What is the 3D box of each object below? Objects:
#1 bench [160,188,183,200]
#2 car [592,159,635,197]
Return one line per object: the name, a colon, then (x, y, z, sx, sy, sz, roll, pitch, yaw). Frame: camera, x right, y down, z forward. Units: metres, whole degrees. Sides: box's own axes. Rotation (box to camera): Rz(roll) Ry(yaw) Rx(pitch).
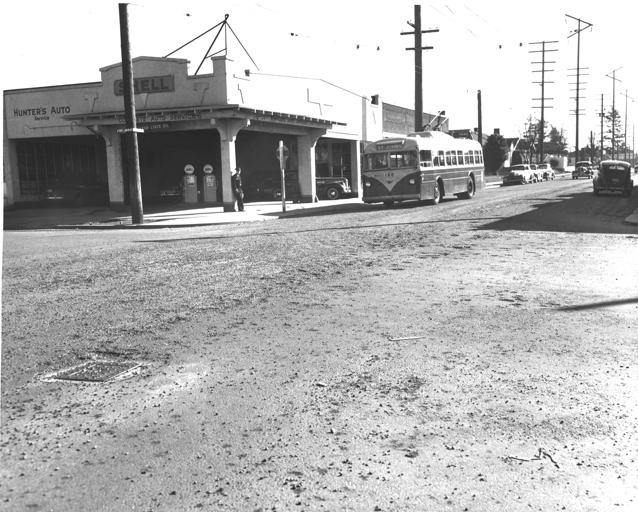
bench: (-10.202, -4.266, 43.344, 1.006, 0.707, 2.751, -8, 12, -40)
car: (17.593, -4.615, 37.305, 1.344, 1.689, 2.851, 1, 4, 20)
